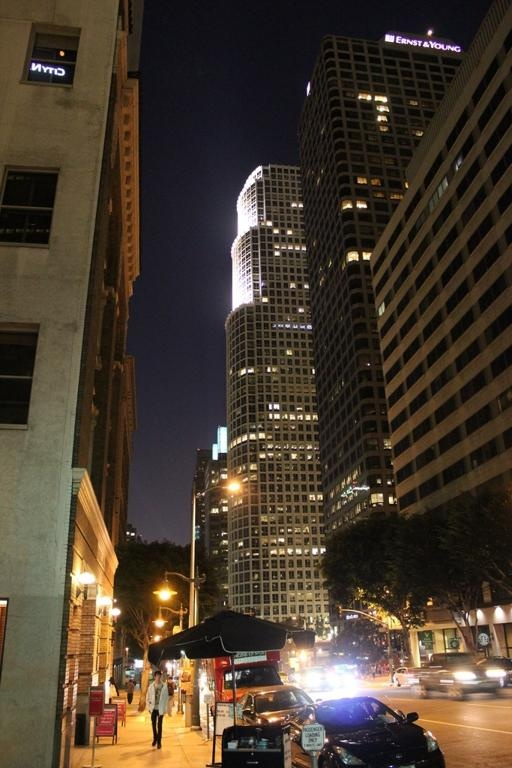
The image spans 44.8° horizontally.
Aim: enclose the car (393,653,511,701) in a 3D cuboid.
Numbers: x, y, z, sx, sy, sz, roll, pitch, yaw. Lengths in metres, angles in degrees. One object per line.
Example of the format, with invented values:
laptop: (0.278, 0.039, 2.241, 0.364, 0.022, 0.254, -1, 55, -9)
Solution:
car: (8.456, 12.183, 26.046, 2.490, 1.750, 3.944, 6, -28, -21)
